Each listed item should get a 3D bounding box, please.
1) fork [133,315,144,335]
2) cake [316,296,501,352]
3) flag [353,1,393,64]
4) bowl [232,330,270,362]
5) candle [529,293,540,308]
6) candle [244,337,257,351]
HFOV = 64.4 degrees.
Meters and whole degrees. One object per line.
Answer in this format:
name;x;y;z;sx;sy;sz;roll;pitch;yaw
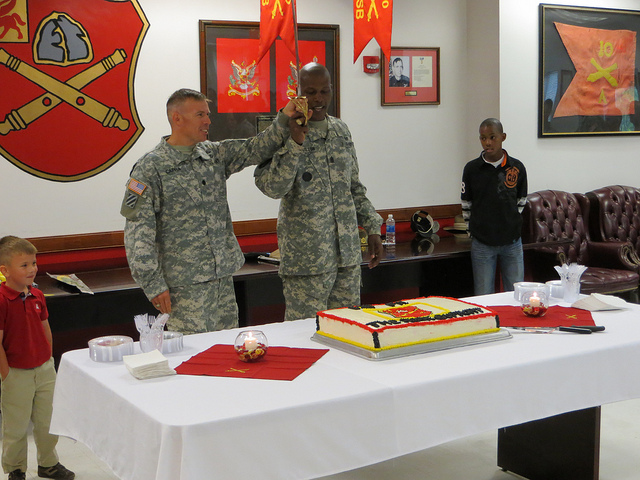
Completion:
fork;-0.624;0.295;1.765;0.014;0.061;0.033;-27;2;-9
cake;0.322;0.296;1.905;0.630;0.114;0.363;-5;16;-24
flag;0.411;-1.681;3.983;0.185;0.446;0.530;-4;15;-20
bowl;-0.216;0.336;1.650;0.087;0.070;0.098;-4;-2;-20
candle;0.869;0.248;2.057;0.035;0.042;0.036;5;5;39
candle;-0.221;0.333;1.641;0.031;0.035;0.033;-5;17;-20
